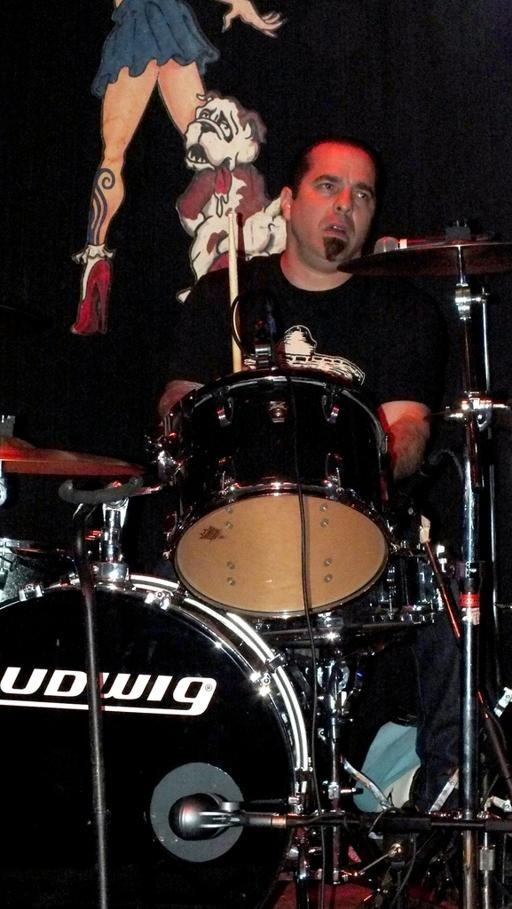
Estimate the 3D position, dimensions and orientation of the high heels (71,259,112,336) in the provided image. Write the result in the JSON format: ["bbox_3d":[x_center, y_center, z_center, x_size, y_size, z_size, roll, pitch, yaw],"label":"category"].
[{"bbox_3d":[-0.492,-0.464,2.965,0.087,0.277,0.112,12,1,7],"label":"high heels"}]

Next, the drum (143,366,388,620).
[{"bbox_3d":[0.058,0.010,1.896,0.451,0.328,0.443,-1,-48,-1],"label":"drum"}]

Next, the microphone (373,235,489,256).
[{"bbox_3d":[0.351,-0.440,2.001,0.129,0.024,0.092,-2,4,-8],"label":"microphone"}]
